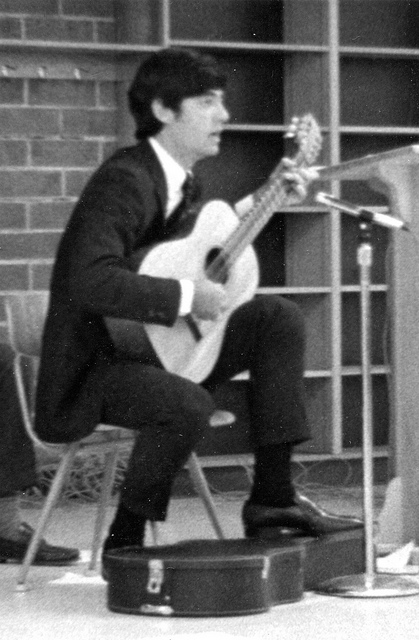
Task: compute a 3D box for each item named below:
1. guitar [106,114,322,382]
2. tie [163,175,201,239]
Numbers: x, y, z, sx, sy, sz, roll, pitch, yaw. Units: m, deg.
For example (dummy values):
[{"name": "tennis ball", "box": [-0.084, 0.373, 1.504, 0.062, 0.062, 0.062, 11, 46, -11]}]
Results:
[{"name": "guitar", "box": [0.044, -0.196, 2.413, 0.348, 0.770, 0.113, 44, -13, -31]}, {"name": "tie", "box": [-0.065, -0.295, 2.365, 0.076, 0.183, 0.029, 39, -17, -8]}]
